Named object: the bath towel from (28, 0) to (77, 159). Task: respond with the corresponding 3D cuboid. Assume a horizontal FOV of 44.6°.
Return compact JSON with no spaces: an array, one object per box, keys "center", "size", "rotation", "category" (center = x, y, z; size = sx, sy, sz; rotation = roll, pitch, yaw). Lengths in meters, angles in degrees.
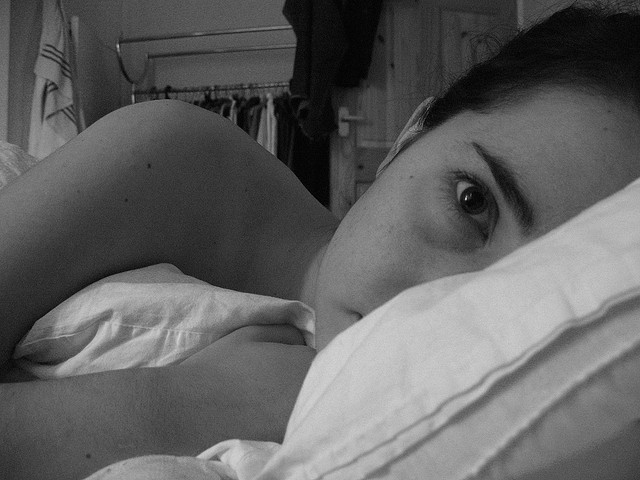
[{"center":[-0.928,-0.578,2.753],"size":[0.156,0.513,0.261],"rotation":[4,17,-19],"category":"bath towel"}]
